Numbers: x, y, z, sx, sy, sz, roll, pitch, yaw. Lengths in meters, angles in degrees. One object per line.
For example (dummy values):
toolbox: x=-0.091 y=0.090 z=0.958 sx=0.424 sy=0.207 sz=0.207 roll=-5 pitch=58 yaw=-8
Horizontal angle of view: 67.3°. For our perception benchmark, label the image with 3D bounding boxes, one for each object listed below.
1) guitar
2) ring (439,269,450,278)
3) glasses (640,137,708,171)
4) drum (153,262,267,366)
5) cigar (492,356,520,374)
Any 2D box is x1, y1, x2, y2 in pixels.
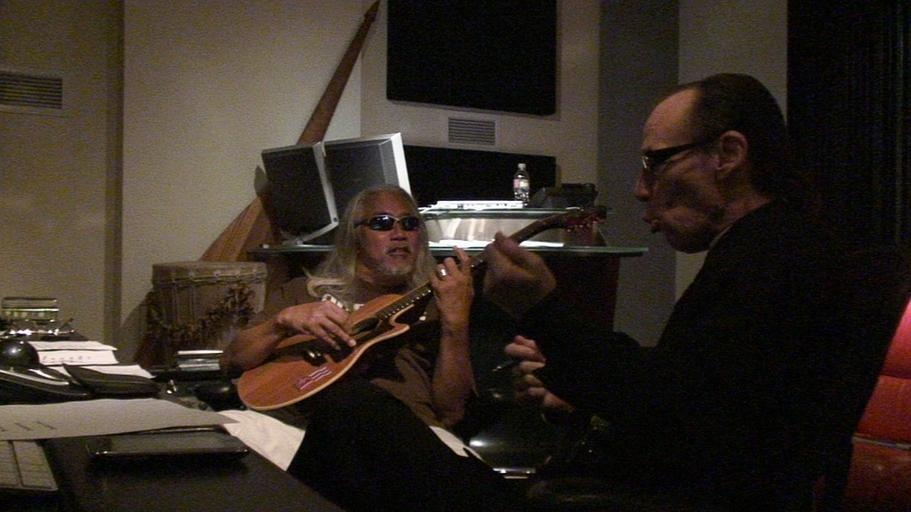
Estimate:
guitar: x=0.007 y=0.123 z=2.037 sx=1.331 sy=0.105 sz=0.410 roll=-18 pitch=38 yaw=-23
ring: x=-0.036 y=0.049 z=1.942 sx=0.030 sy=0.023 sz=0.027 roll=-3 pitch=14 yaw=27
glasses: x=0.479 y=-0.209 z=1.470 sx=0.092 sy=0.021 sz=0.077 roll=-19 pitch=6 yaw=0
drum: x=-0.977 y=0.255 z=2.877 sx=0.507 sy=0.385 sz=0.440 roll=-3 pitch=-5 yaw=-25
cigar: x=0.141 y=0.311 z=1.933 sx=0.030 sy=0.023 sz=0.165 roll=40 pitch=4 yaw=14
